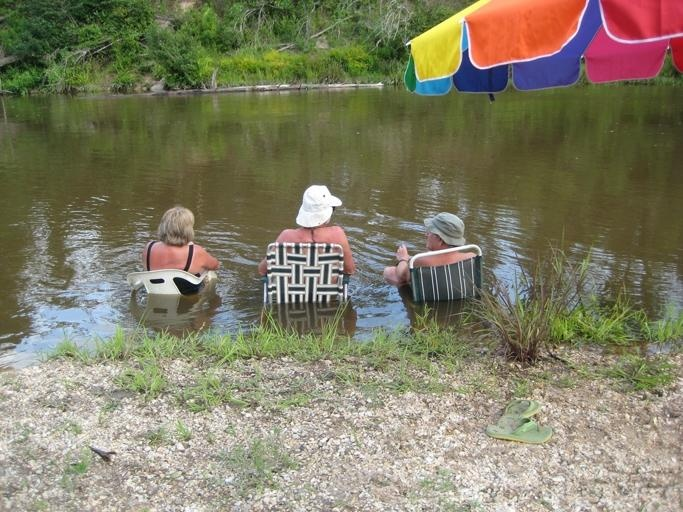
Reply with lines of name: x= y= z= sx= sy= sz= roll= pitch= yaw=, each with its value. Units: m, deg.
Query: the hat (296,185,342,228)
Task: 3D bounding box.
hat: x=-0.244 y=-0.552 z=7.733 sx=0.403 sy=0.261 sz=0.491 roll=7 pitch=40 yaw=21

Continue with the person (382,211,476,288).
person: x=0.965 y=-0.124 z=8.298 sx=0.728 sy=0.447 sz=0.987 roll=-8 pitch=16 yaw=-6

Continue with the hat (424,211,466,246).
hat: x=1.160 y=-0.291 z=7.896 sx=0.456 sy=0.367 sz=0.279 roll=3 pitch=16 yaw=14

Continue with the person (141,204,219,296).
person: x=-1.742 y=-0.176 z=8.200 sx=0.718 sy=0.963 sz=0.866 roll=13 pitch=29 yaw=-1

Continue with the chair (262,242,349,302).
chair: x=-0.419 y=0.199 z=7.753 sx=0.680 sy=0.543 sz=0.771 roll=0 pitch=14 yaw=-3
